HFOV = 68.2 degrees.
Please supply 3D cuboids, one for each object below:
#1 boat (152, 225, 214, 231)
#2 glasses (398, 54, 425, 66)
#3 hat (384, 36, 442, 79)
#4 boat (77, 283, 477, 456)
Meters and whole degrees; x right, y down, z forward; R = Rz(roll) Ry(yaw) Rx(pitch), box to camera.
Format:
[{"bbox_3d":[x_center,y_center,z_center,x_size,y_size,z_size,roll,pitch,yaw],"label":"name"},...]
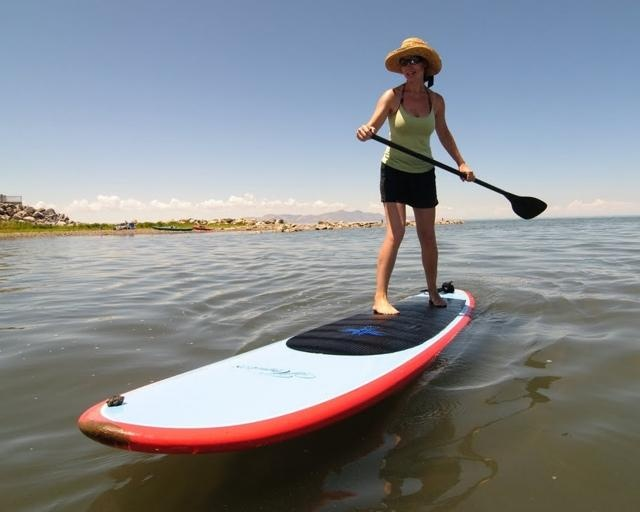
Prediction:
[{"bbox_3d":[-9.555,-1.769,32.897,3.061,0.368,4.784,0,8,-2],"label":"boat"},{"bbox_3d":[0.776,-1.641,4.021,0.118,0.030,0.115,-7,-13,28],"label":"glasses"},{"bbox_3d":[0.802,-1.710,4.073,0.466,0.255,0.312,1,9,6],"label":"hat"},{"bbox_3d":[0.212,0.533,3.141,0.789,0.241,2.822,11,8,38],"label":"boat"}]
